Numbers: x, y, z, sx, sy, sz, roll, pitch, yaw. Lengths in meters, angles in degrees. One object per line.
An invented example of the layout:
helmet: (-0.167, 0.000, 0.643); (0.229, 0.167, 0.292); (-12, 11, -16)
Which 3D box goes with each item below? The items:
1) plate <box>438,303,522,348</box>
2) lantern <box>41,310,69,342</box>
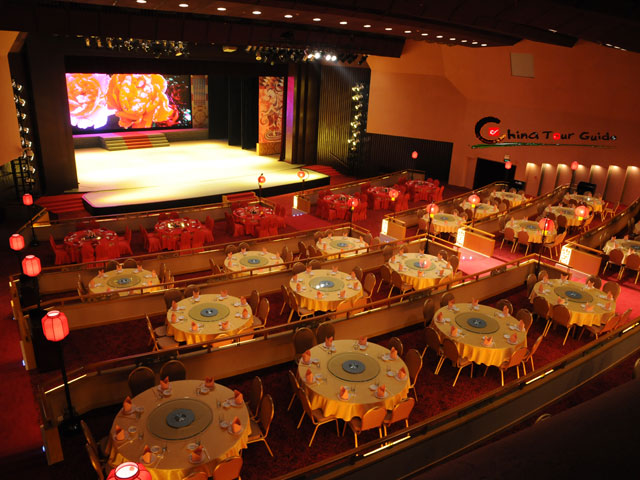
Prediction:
plate: (3.071, 1.673, 8.674); (0.953, 0.211, 0.855); (-4, 25, -10)
lantern: (-4.035, 1.354, 6.820); (0.308, 0.612, 0.439); (-14, 25, -31)
